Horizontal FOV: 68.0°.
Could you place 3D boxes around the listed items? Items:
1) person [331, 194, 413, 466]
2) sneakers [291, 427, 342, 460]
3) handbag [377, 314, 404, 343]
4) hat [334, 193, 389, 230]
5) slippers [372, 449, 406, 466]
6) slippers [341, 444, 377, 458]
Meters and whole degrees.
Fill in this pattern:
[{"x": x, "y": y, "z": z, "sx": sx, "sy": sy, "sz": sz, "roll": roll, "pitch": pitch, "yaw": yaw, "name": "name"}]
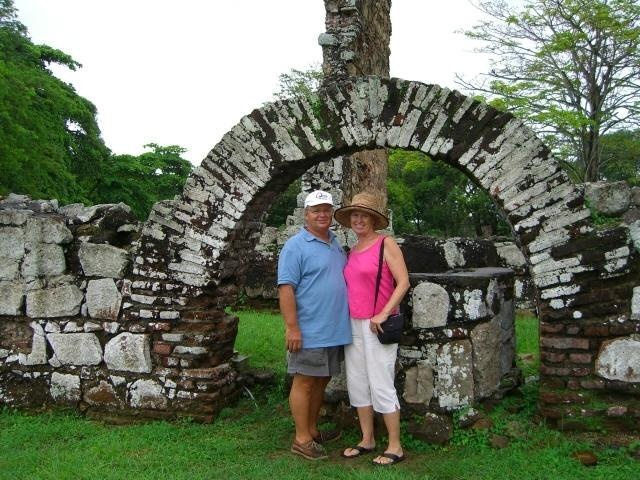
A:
[{"x": 0.491, "y": 0.765, "z": 4.254, "sx": 0.604, "sy": 2.348, "sz": 0.704, "roll": -1, "pitch": 8, "yaw": 9, "name": "person"}, {"x": -0.038, "y": 1.888, "z": 4.363, "sx": 0.531, "sy": 0.169, "sz": 0.148, "roll": -5, "pitch": -3, "yaw": 13, "name": "sneakers"}, {"x": 0.593, "y": 0.748, "z": 4.050, "sx": 0.309, "sy": 0.259, "sz": 0.114, "roll": -2, "pitch": 4, "yaw": -23, "name": "handbag"}, {"x": 0.461, "y": -0.366, "z": 4.561, "sx": 0.514, "sy": 0.232, "sz": 0.467, "roll": 10, "pitch": -25, "yaw": 15, "name": "hat"}, {"x": 0.586, "y": 1.880, "z": 4.113, "sx": 0.236, "sy": 0.053, "sz": 0.117, "roll": 7, "pitch": -11, "yaw": -36, "name": "slippers"}, {"x": 0.347, "y": 1.891, "z": 4.286, "sx": 0.246, "sy": 0.048, "sz": 0.119, "roll": 4, "pitch": -7, "yaw": -26, "name": "slippers"}]
